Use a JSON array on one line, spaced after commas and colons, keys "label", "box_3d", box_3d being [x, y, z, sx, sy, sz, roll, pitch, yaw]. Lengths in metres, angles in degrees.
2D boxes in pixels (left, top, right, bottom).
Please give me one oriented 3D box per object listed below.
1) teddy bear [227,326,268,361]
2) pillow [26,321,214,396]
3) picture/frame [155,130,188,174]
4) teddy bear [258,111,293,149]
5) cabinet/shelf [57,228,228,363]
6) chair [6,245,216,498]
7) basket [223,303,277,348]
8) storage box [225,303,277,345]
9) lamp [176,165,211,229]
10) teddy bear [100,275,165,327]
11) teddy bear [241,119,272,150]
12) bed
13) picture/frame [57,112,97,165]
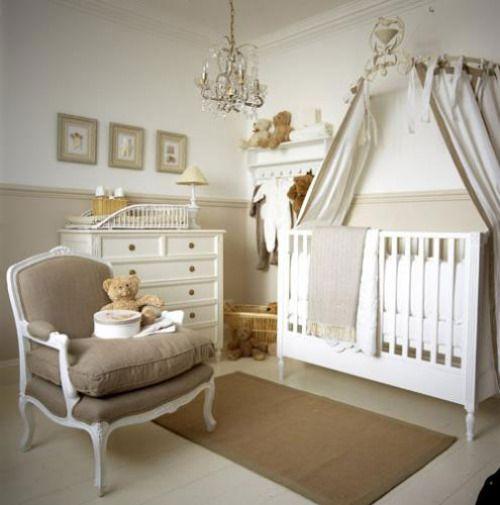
[{"label": "teddy bear", "box_3d": [-0.031, 0.692, 3.623, 0.309, 0.237, 0.230, 0, -8, -2]}, {"label": "pillow", "box_3d": [-0.541, 0.485, 1.990, 0.833, 0.187, 0.487, -2, 4, -26]}, {"label": "picture/frame", "box_3d": [-0.675, -0.856, 3.736, 0.034, 0.499, 0.376, 1, 1, 43]}, {"label": "teddy bear", "box_3d": [0.276, -1.072, 3.894, 0.219, 0.306, 0.420, -3, 5, -39]}, {"label": "cabinet/shelf", "box_3d": [-0.645, 0.218, 2.565, 0.353, 1.005, 0.901, -3, -3, 44]}, {"label": "chair", "box_3d": [-0.619, 0.451, 2.407, 0.914, 1.274, 0.870, -2, -1, 35]}, {"label": "basket", "box_3d": [0.009, 0.587, 3.644, 0.267, 0.198, 0.428, 5, -8, -37]}, {"label": "storage box", "box_3d": [-0.005, 0.579, 3.640, 0.265, 0.194, 0.410, 6, -8, -44]}, {"label": "lamp", "box_3d": [-0.488, -0.482, 3.699, 0.254, 0.562, 0.662, 0, 4, -8]}, {"label": "teddy bear", "box_3d": [-0.606, 0.259, 2.361, 0.292, 0.319, 0.235, -6, -14, -39]}, {"label": "teddy bear", "box_3d": [0.046, -1.067, 4.006, 0.264, 0.364, 0.256, 0, 14, -5]}, {"label": "bed", "box_3d": [0.848, 0.357, 2.744, 1.480, 1.289, 0.880, -1, -2, 45]}, {"label": "picture/frame", "box_3d": [-1.247, -0.825, 3.161, 0.355, 0.495, 0.031, -2, 2, -45]}]
